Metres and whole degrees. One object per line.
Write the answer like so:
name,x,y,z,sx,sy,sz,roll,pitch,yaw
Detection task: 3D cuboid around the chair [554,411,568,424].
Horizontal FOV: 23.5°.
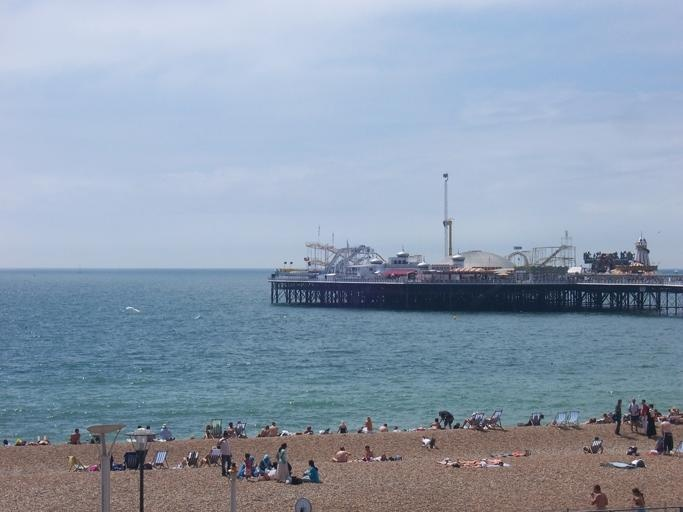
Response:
chair,16.192,11.865,120.690,0.973,0.900,0.644,0,7,8

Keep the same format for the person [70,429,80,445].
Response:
person,-19.420,13.111,119.713,0.938,1.003,0.664,12,-10,-13

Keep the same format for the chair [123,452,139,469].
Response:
chair,-14.613,14.159,115.128,1.393,0.811,1.228,2,12,6

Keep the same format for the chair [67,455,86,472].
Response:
chair,-18.637,14.428,115.484,1.205,0.921,1.702,-2,6,-9

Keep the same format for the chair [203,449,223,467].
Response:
chair,-9.130,14.043,115.634,1.178,1.035,0.922,-2,7,-4
